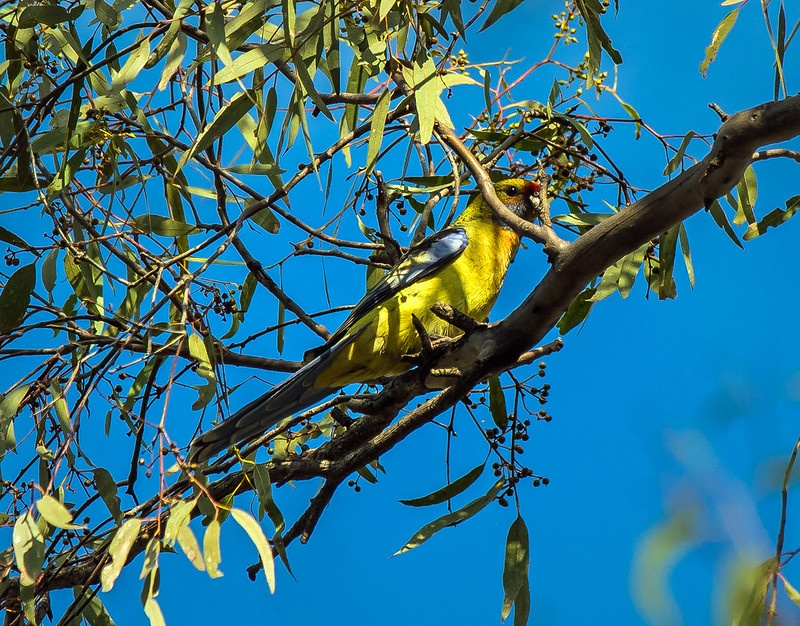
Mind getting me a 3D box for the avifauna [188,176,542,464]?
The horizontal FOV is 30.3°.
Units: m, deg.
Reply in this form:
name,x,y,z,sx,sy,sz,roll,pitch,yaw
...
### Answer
name,x,y,z,sx,sy,sz,roll,pitch,yaw
avifauna,-0.085,0.028,4.858,1.262,0.678,0.386,-20,-46,14
